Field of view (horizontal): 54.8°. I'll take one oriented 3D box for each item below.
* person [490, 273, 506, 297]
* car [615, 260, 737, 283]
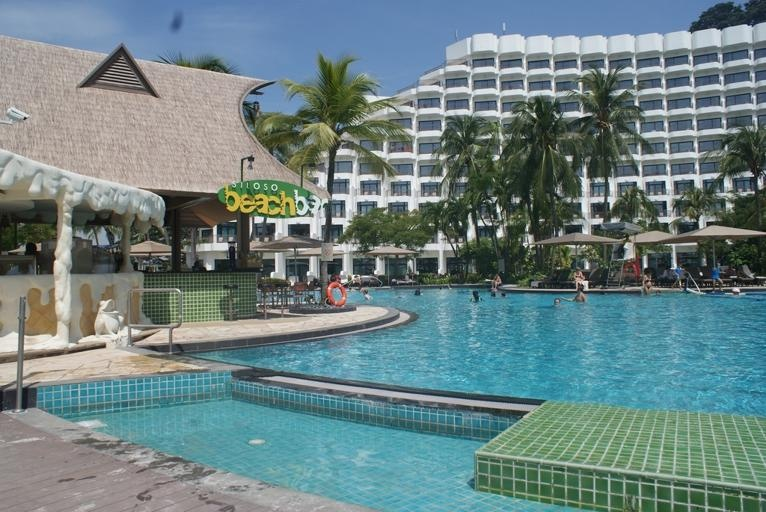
[{"bbox_3d":[7.110,1.822,45.535,0.806,1.917,1.298,-1,-10,4],"label":"person"},{"bbox_3d":[16.220,0.910,42.558,3.940,0.954,2.262,-1,-2,35],"label":"car"}]
